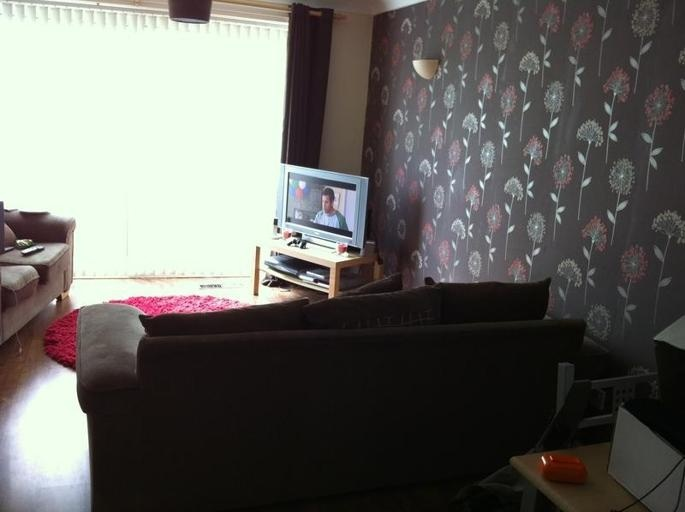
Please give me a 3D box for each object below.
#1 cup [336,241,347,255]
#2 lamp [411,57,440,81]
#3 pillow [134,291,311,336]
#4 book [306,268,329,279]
[{"bbox_3d":[-0.005,-0.076,5.004,0.078,0.082,0.105,12,18,25],"label":"cup"},{"bbox_3d":[0.726,-1.595,4.489,0.186,0.142,0.194,-5,8,-20],"label":"lamp"},{"bbox_3d":[-0.512,0.293,2.327,0.752,0.127,0.171,-1,18,-18],"label":"pillow"},{"bbox_3d":[-0.223,0.176,5.031,0.119,0.031,0.126,6,18,11],"label":"book"}]
